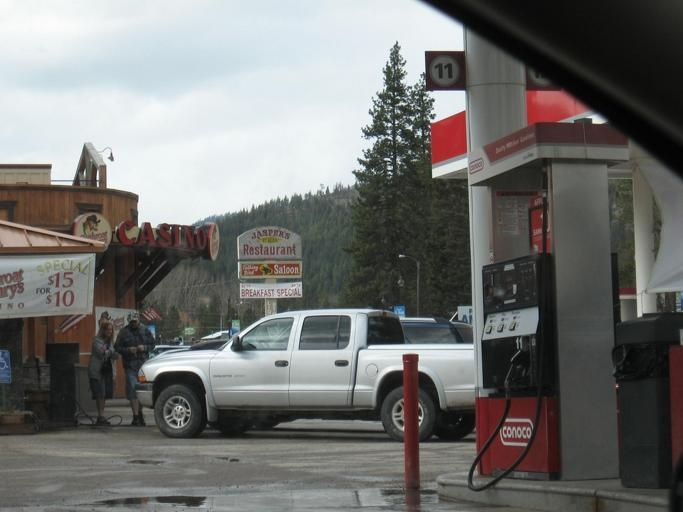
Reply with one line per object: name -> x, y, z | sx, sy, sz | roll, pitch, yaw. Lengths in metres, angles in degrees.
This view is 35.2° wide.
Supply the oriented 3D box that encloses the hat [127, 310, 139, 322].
hat -> -4.053, 1.231, 21.078 | 0.208, 0.308, 0.286 | -1, 8, -12
